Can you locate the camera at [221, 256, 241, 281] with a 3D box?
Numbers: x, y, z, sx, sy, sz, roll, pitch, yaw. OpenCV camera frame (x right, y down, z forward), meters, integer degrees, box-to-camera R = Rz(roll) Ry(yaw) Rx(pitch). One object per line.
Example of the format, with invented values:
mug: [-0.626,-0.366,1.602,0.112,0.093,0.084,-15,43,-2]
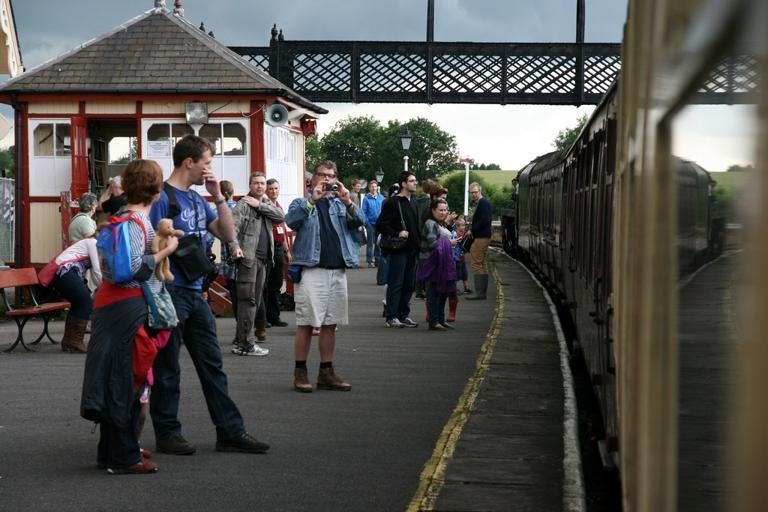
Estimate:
camera: [-1.782,0.164,12.140,0.208,0.305,0.164,11,15,28]

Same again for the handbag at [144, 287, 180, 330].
handbag: [-1.592,0.395,7.379,0.126,0.312,0.242,-15,-1,32]

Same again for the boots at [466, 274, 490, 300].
boots: [1.750,0.556,18.594,0.462,0.567,0.295,4,6,18]

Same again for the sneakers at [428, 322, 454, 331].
sneakers: [0.789,1.011,14.380,0.342,0.157,0.124,0,2,9]

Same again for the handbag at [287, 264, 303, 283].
handbag: [-0.832,0.181,9.742,0.170,0.241,0.133,-1,-2,44]

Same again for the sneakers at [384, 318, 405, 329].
sneakers: [0.157,0.992,14.724,0.246,0.126,0.124,1,4,-7]

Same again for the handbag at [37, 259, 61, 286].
handbag: [-3.998,0.228,12.351,0.226,0.307,0.310,0,2,-20]

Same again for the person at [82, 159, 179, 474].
person: [-1.826,0.452,7.363,0.604,2.261,0.382,0,2,-14]

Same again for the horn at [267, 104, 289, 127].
horn: [-1.911,-2.470,18.362,0.297,0.365,0.440,0,2,-10]

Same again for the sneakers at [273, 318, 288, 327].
sneakers: [-1.494,1.002,14.939,0.228,0.111,0.088,-1,5,6]

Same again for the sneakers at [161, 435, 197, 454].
sneakers: [-1.578,1.468,7.934,0.273,0.147,0.123,1,3,12]

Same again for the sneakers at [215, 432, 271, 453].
sneakers: [-1.090,1.480,8.051,0.390,0.187,0.164,1,2,0]

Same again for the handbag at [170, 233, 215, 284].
handbag: [-1.440,0.033,7.695,0.267,0.366,0.134,-38,26,-28]

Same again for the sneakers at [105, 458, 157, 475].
sneakers: [-1.808,1.547,7.403,0.335,0.162,0.139,-2,4,-8]

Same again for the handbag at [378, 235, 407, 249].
handbag: [0.121,-0.142,13.833,0.350,0.193,0.196,1,2,1]

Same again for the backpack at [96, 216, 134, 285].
backpack: [-1.901,-0.023,7.288,0.332,0.471,0.135,1,2,28]

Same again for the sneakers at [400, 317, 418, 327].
sneakers: [0.352,0.981,14.787,0.264,0.139,0.101,1,7,0]

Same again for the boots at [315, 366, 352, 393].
boots: [-0.517,1.229,10.195,0.410,0.299,0.165,0,5,-1]

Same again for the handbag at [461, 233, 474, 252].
handbag: [1.410,-0.199,17.632,0.067,0.330,0.295,8,-30,17]

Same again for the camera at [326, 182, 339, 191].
camera: [-0.493,-0.629,9.700,0.113,0.087,0.073,0,-3,-7]

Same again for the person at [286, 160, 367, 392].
person: [-0.572,0.229,9.953,0.726,2.235,0.766,0,2,-4]

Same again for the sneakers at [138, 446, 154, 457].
sneakers: [-1.767,1.480,7.697,0.077,0.060,0.153,8,-8,4]
